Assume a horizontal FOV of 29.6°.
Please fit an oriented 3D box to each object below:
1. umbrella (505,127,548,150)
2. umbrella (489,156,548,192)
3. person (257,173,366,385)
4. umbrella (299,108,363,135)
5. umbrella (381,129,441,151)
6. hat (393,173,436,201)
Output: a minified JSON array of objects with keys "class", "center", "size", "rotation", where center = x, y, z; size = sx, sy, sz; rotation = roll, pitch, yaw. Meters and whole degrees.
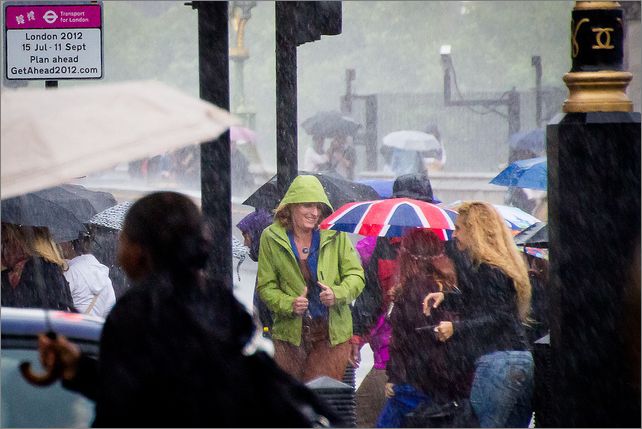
[{"class":"umbrella","center":[3.155,-1.105,18.209],"size":[0.428,0.322,1.014],"rotation":[0,4,-7]},{"class":"umbrella","center":[2.041,-0.421,12.527],"size":[0.552,0.299,0.931],"rotation":[1,4,8]},{"class":"person","center":[-0.107,0.893,9.976],"size":[0.824,2.406,0.776],"rotation":[0,12,2]},{"class":"umbrella","center":[0.177,-1.519,20.411],"size":[0.759,0.437,1.654],"rotation":[-1,4,-20]},{"class":"umbrella","center":[1.528,-1.224,20.402],"size":[0.922,0.346,0.974],"rotation":[1,4,5]},{"class":"hat","center":[0.818,-0.232,10.571],"size":[0.287,0.247,0.219],"rotation":[0,2,-29]}]
